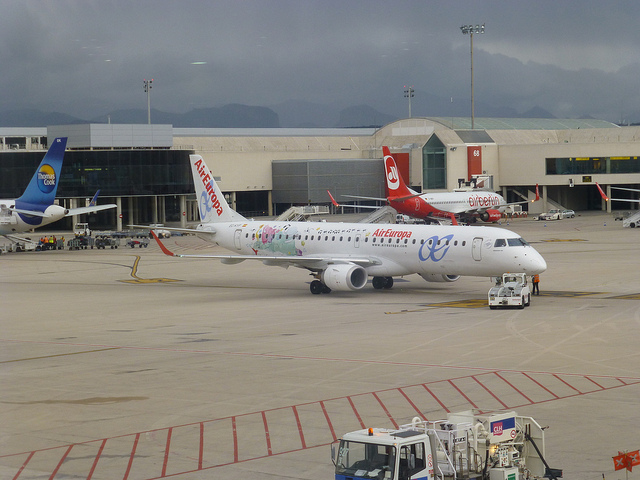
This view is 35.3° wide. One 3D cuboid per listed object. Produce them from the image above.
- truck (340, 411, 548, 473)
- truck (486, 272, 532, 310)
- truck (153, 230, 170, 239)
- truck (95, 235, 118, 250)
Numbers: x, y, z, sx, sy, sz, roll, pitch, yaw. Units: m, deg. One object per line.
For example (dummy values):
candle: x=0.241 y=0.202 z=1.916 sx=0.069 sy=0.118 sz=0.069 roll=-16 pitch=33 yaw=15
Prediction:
truck: x=3.844 y=6.314 z=29.403 sx=6.017 sy=1.864 sz=1.802 roll=-7 pitch=14 yaw=-21
truck: x=10.934 y=3.020 z=56.720 sx=1.961 sy=1.672 sz=2.421 roll=4 pitch=14 yaw=27
truck: x=-18.863 y=-0.650 z=118.168 sx=3.186 sy=1.040 sz=3.503 roll=0 pitch=-1 yaw=1
truck: x=-22.373 y=0.402 z=103.563 sx=2.339 sy=0.995 sz=0.985 roll=1 pitch=14 yaw=17
